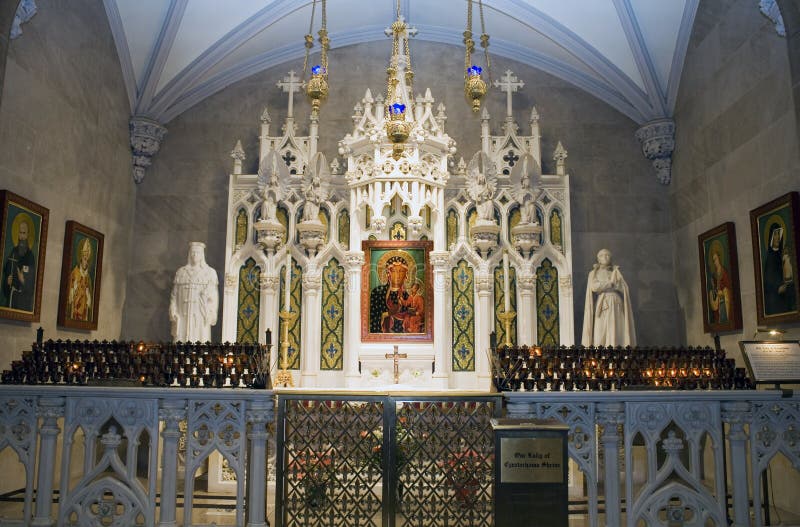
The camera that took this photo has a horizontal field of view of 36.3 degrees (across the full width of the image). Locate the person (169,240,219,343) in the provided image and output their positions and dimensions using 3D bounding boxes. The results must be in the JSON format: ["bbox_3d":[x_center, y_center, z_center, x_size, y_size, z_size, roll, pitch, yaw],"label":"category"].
[{"bbox_3d":[-3.283,0.476,19.408,0.779,1.545,0.497,2,-14,-11],"label":"person"}]

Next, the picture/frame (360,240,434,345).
[{"bbox_3d":[-0.084,0.502,19.560,1.603,2.272,0.121,0,1,1],"label":"picture/frame"}]

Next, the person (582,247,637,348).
[{"bbox_3d":[3.289,0.558,19.453,0.826,1.467,0.458,-3,-14,9],"label":"person"}]
